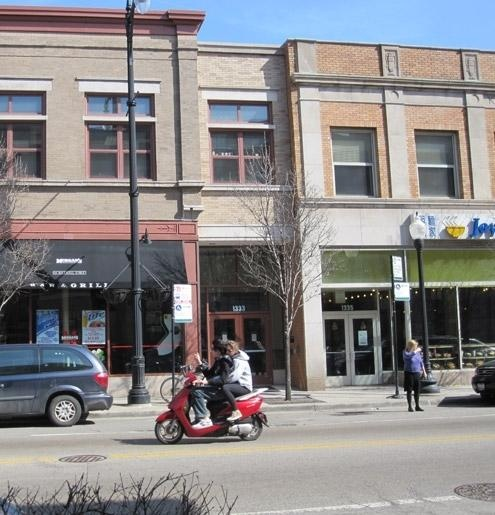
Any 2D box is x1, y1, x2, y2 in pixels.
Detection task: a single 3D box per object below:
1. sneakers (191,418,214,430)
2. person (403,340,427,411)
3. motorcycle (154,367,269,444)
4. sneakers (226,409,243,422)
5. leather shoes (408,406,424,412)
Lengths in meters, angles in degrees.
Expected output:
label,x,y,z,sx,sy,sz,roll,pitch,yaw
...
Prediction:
label,x,y,z,sx,sy,sz,roll,pitch,yaw
sneakers,-0.704,2.683,12.769,0.311,0.179,0.153,4,-6,1
person,3.608,2.601,17.441,0.418,1.548,0.679,-6,-10,14
motorcycle,-0.626,2.588,12.881,2.094,1.331,0.910,2,-10,-3
sneakers,-0.210,2.551,12.743,0.246,0.102,0.129,3,-7,-42
leather shoes,3.621,3.301,17.192,0.375,0.151,0.120,-6,-6,19
